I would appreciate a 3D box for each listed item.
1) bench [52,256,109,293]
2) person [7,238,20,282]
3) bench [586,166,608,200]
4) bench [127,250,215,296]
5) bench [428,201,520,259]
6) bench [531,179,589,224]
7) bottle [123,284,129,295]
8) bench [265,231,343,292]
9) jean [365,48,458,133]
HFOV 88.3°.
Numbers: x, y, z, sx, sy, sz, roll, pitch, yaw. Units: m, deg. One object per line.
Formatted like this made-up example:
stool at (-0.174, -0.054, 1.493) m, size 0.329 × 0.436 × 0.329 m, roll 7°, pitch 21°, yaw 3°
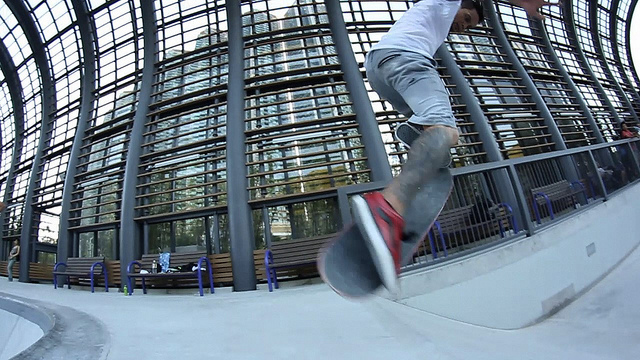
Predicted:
bench at (-8.650, 3.343, 11.867) m, size 2.013 × 0.956 × 0.666 m, roll -5°, pitch -2°, yaw 18°
person at (-13.052, 3.386, 14.113) m, size 0.304 × 1.825 × 0.873 m, roll 10°, pitch -27°, yaw -40°
bench at (7.662, 0.151, 9.285) m, size 0.235 × 0.791 × 0.442 m, roll -23°, pitch -25°, yaw 35°
bench at (-4.946, 2.981, 10.724) m, size 2.784 × 1.041 × 0.849 m, roll -6°, pitch -1°, yaw 13°
bench at (4.044, 1.299, 8.689) m, size 2.155 × 0.871 × 0.626 m, roll -19°, pitch -22°, yaw -6°
bench at (6.706, 0.586, 9.285) m, size 1.573 × 0.647 × 0.343 m, roll -5°, pitch -27°, yaw -37°
bottle at (-6.098, 3.419, 10.443) m, size 0.111 × 0.309 × 0.500 m, roll 4°, pitch -20°, yaw -29°
bench at (-0.499, 2.282, 9.047) m, size 2.774 × 1.106 × 0.805 m, roll -12°, pitch -22°, yaw 1°
jean at (1.695, -1.737, 6.381) m, size 1.381 × 1.739 × 0.680 m, roll -10°, pitch -20°, yaw 10°
